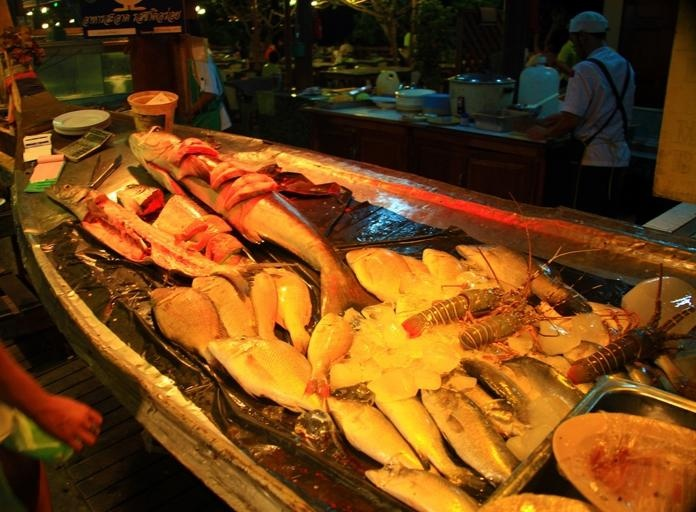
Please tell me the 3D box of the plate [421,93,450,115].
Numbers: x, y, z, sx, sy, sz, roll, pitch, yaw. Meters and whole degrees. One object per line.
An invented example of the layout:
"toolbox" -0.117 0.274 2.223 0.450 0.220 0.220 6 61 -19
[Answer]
"plate" 1.041 -1.861 5.877 0.390 0.241 0.316 -1 4 -9

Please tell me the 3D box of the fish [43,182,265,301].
"fish" -1.480 -0.290 3.425 0.467 0.476 2.638 -23 24 -18

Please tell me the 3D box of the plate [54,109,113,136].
"plate" -2.322 -1.183 4.216 0.408 0.064 0.396 -21 34 -38

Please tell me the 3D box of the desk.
"desk" 1.037 -1.033 4.770 2.390 0.651 0.640 18 37 30

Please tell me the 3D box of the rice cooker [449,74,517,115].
"rice cooker" 1.552 -1.931 5.617 0.822 0.404 0.653 19 37 29

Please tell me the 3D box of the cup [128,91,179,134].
"cup" -1.588 -1.196 3.955 0.372 0.325 0.514 -11 21 -15

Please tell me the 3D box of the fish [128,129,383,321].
"fish" -0.795 -0.253 2.852 2.396 0.396 0.618 31 38 21
